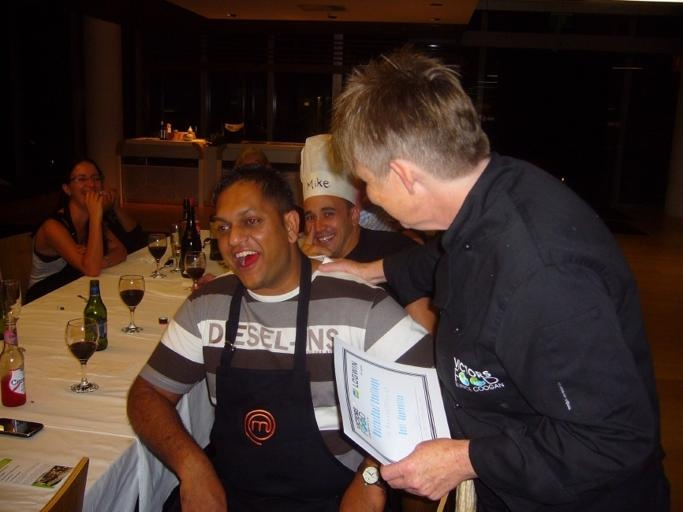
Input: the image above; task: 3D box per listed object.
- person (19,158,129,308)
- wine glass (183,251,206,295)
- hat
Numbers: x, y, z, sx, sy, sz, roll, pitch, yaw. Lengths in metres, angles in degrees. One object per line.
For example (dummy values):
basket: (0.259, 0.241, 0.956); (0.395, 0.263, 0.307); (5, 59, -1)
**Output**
person: (-1.656, 0.129, 3.381); (0.546, 1.493, 0.531); (3, 33, -28)
wine glass: (-0.714, 0.095, 2.659); (0.095, 0.238, 0.093); (-5, 14, -18)
hat: (-0.100, -0.405, 2.491); (0.327, 0.305, 0.255); (8, 13, 43)
